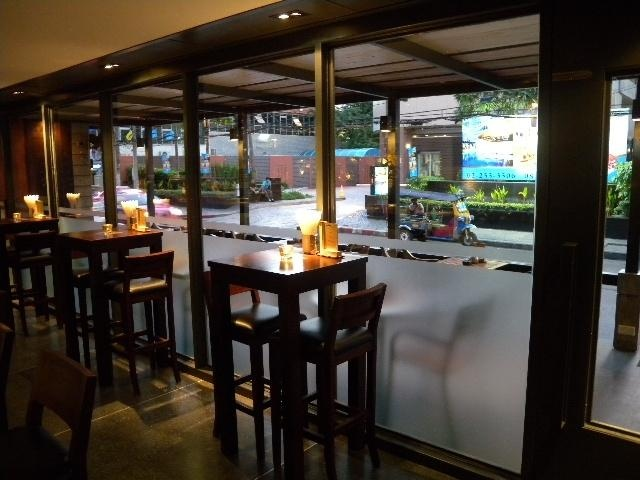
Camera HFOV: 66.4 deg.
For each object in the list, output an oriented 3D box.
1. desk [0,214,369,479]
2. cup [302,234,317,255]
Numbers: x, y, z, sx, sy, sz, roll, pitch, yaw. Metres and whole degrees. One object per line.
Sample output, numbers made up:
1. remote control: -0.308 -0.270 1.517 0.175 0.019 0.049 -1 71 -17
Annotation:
1. desk: -1.377 0.625 3.748 3.491 1.306 1.901 1 13 9
2. cup: -0.069 0.031 3.163 0.133 0.126 0.093 -1 2 -6
